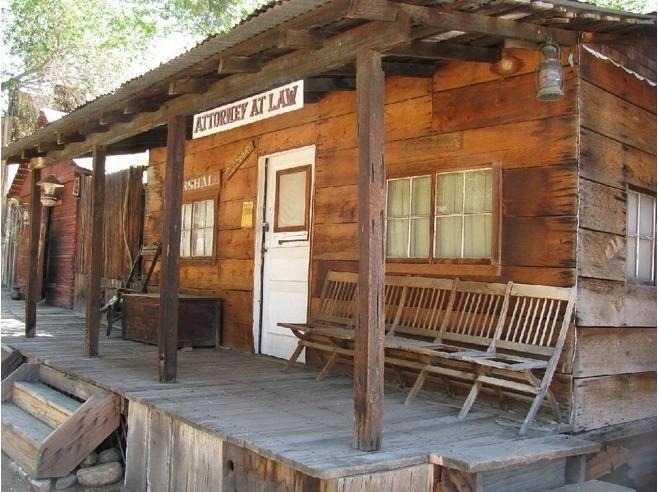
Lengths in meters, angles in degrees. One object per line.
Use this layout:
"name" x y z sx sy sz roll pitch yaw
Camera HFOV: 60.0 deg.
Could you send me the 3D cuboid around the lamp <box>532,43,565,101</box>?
"lamp" 2.003 -1.592 5.185 0.221 0.532 0.223 2 -6 4
